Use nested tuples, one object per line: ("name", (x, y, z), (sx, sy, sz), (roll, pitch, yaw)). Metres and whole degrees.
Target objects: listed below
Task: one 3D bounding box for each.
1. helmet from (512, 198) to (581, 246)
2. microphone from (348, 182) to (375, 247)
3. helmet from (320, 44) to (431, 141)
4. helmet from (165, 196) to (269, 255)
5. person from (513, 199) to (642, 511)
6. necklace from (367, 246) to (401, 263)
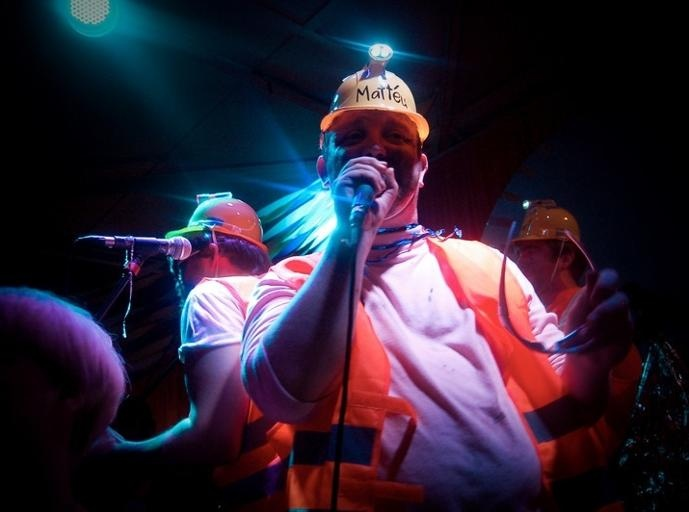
("helmet", (1.021, -0.163, 2.939), (0.283, 0.178, 0.233), (5, -9, -24))
("microphone", (0.080, -0.219, 2.798), (0.069, 0.357, 0.077), (-7, -34, 22))
("helmet", (0.155, -0.893, 3.257), (0.458, 0.419, 0.568), (3, -26, 7))
("helmet", (-0.844, -0.246, 4.382), (0.536, 0.299, 0.424), (20, -18, -13))
("person", (1.195, 0.446, 3.142), (0.710, 1.467, 0.570), (-3, 7, 22))
("necklace", (0.201, -0.005, 3.169), (0.104, 0.043, 0.082), (-17, -13, -11))
